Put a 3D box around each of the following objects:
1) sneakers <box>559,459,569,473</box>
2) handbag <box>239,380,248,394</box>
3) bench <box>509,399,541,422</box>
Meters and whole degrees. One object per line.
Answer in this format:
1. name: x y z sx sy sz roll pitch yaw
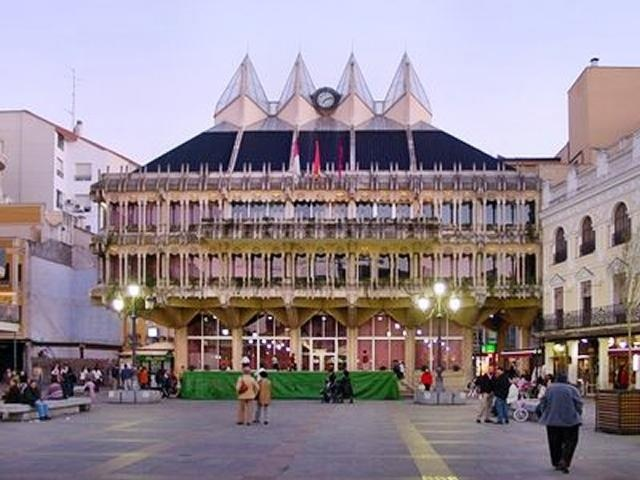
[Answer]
1. sneakers: 8.854 8.173 44.855 0.212 0.299 0.658 -3 -49 14
2. handbag: -3.330 6.361 53.697 0.354 0.532 0.244 10 12 24
3. bench: 9.363 7.865 57.028 1.970 1.334 1.345 1 -5 2
